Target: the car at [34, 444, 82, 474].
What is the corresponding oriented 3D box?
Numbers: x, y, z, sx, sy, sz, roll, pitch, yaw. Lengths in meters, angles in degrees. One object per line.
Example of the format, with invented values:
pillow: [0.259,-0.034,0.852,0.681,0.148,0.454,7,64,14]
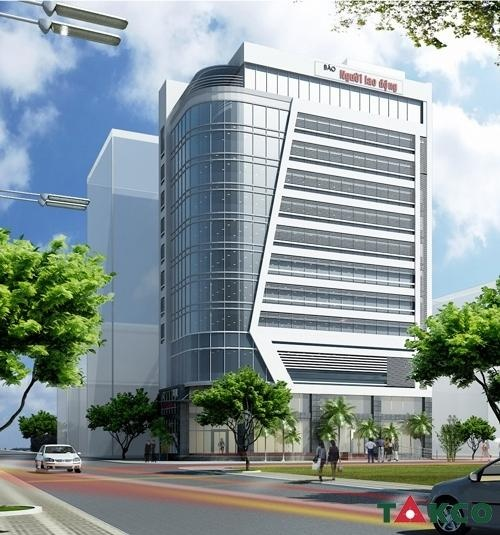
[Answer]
car: [-9.518,9.596,47.194,1.869,1.431,2.515,3,-14,-16]
